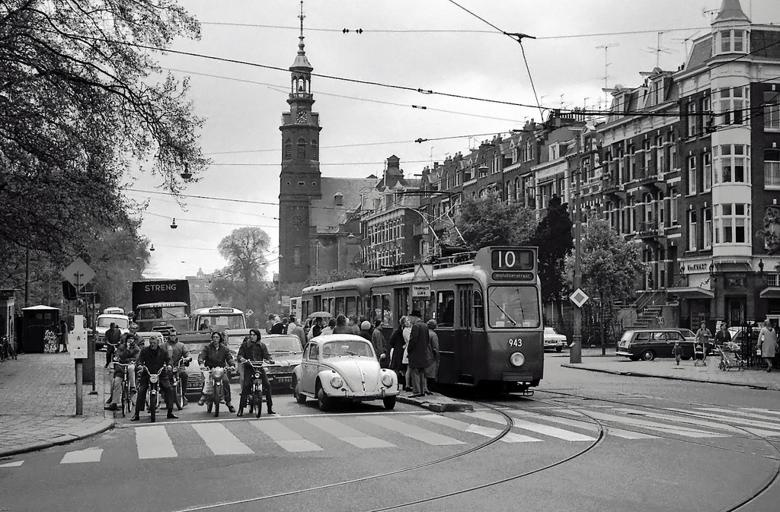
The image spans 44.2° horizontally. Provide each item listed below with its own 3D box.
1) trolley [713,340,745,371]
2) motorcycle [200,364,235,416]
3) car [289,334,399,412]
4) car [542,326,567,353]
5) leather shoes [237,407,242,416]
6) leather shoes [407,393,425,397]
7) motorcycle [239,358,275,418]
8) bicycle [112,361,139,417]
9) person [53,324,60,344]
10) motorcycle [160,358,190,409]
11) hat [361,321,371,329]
[{"bbox_3d":[15.681,4.672,44.170,1.161,1.210,1.565,3,-6,-28],"label":"trolley"},{"bbox_3d":[-5.040,3.644,28.243,1.054,1.480,2.374,2,9,-10],"label":"motorcycle"},{"bbox_3d":[-1.528,3.435,28.388,3.411,2.219,1.518,-7,-10,37],"label":"car"},{"bbox_3d":[11.004,5.604,64.054,1.233,1.713,1.715,-2,-8,11],"label":"car"},{"bbox_3d":[-4.281,4.455,27.382,0.178,0.239,0.556,1,-13,-8],"label":"leather shoes"},{"bbox_3d":[0.787,4.241,29.286,0.464,0.181,0.169,4,-1,20],"label":"leather shoes"},{"bbox_3d":[-3.817,3.742,27.099,0.949,1.632,1.291,-1,-7,0],"label":"motorcycle"},{"bbox_3d":[-7.807,3.812,28.425,0.733,1.207,1.922,-7,9,-13],"label":"bicycle"},{"bbox_3d":[-19.811,4.690,57.308,0.337,1.253,2.061,1,-8,-14],"label":"person"},{"bbox_3d":[-6.409,3.699,28.859,0.889,1.335,2.097,1,7,-9],"label":"motorcycle"},{"bbox_3d":[-0.807,2.355,32.362,0.262,0.222,0.267,1,5,1],"label":"hat"}]
